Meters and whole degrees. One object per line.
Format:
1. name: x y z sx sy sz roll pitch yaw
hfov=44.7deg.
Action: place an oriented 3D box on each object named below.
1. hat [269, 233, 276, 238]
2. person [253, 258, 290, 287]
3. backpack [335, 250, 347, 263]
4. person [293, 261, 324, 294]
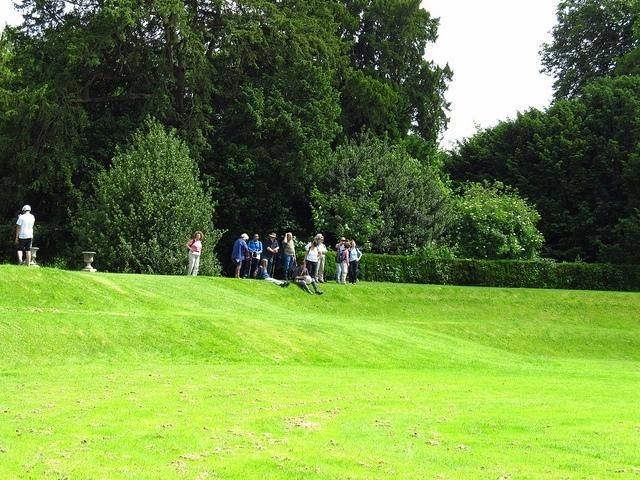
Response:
1. hat: -2.087 -0.100 34.596 0.239 0.073 0.248 14 0 -29
2. person: -2.255 1.574 34.787 1.807 1.305 0.839 13 15 29
3. backpack: 0.881 0.845 36.207 0.413 0.623 0.611 7 -1 12
4. person: -0.529 1.708 34.174 0.779 1.279 1.770 -4 21 -40
